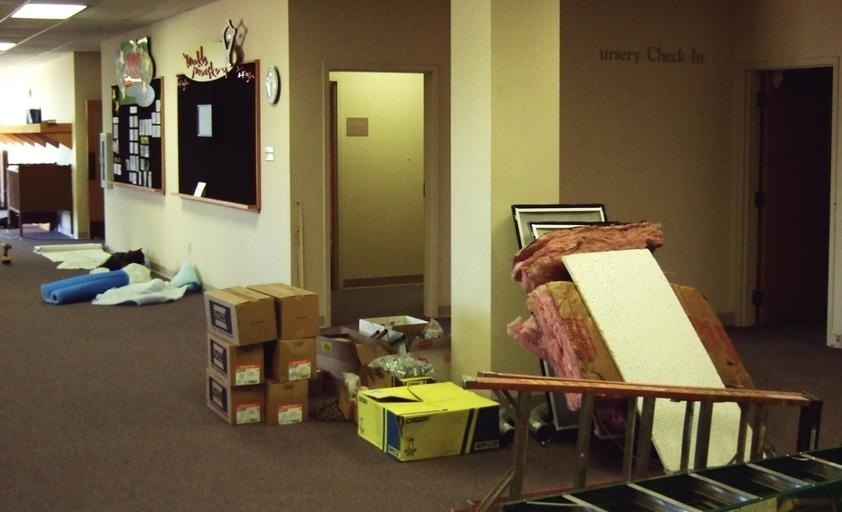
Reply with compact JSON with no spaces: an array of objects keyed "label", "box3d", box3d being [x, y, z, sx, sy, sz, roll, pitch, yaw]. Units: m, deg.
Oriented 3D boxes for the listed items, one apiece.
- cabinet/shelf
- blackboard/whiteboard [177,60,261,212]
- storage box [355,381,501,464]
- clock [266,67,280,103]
[{"label":"cabinet/shelf","box3d":[-8.206,-1.401,14.291,1.338,1.835,2.405,-3,8,-24]},{"label":"blackboard/whiteboard","box3d":[-2.537,-1.469,8.169,0.232,1.696,2.171,-8,11,-38]},{"label":"storage box","box3d":[0.013,1.076,4.480,0.572,0.260,0.568,-2,8,-26]},{"label":"clock","box3d":[-1.576,-1.846,7.056,0.049,0.402,0.400,-3,4,-21]}]
